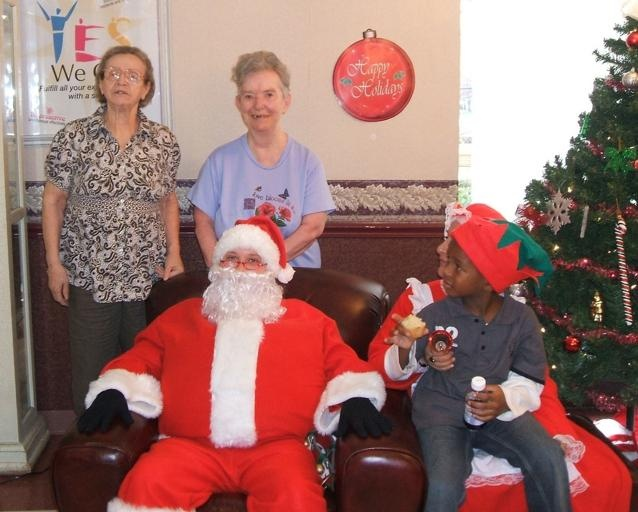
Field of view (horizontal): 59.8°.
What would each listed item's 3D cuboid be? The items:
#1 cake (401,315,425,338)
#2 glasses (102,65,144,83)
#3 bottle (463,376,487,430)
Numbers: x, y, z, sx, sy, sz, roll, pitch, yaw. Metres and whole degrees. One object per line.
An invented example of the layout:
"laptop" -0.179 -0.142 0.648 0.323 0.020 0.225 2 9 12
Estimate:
"cake" 0.372 0.285 2.200 0.081 0.089 0.026 -17 -12 -4
"glasses" -0.948 -0.881 2.697 0.092 0.033 0.098 4 -17 -11
"bottle" 0.594 0.547 2.128 0.075 0.231 0.181 3 9 16
